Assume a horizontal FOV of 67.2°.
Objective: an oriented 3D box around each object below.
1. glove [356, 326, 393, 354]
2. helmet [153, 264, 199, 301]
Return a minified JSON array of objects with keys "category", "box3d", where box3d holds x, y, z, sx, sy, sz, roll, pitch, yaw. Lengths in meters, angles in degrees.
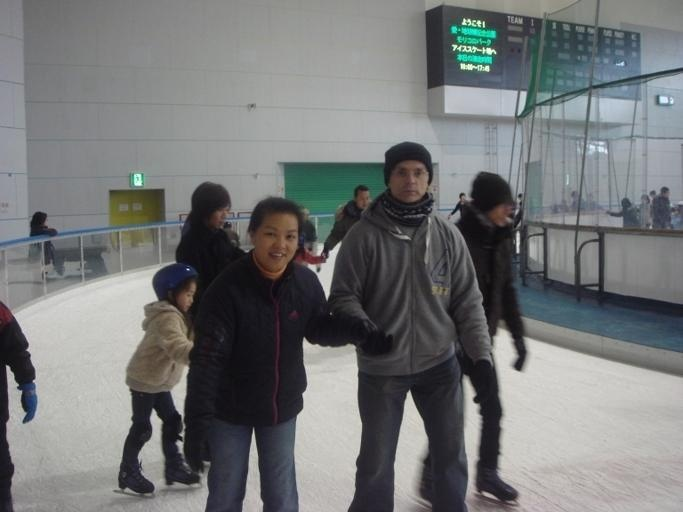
[{"category":"glove","box3d":[0.168,0.442,2.571,0.163,0.192,0.228,-1,8,4]},{"category":"helmet","box3d":[-1.053,0.152,3.244,0.235,0.212,0.194,-6,-19,-17]}]
